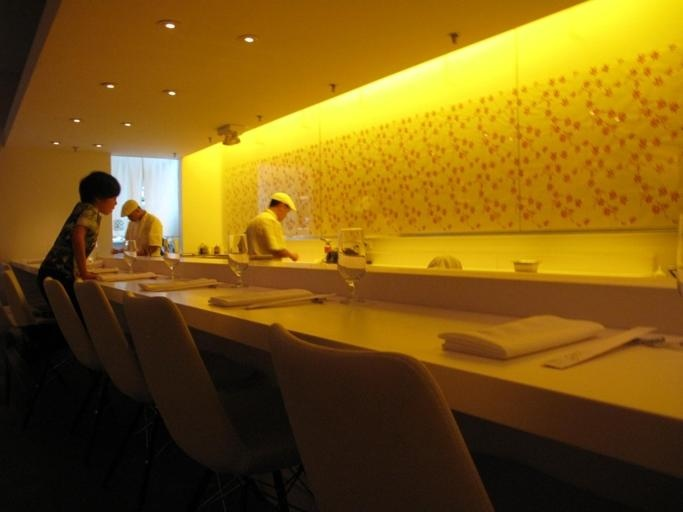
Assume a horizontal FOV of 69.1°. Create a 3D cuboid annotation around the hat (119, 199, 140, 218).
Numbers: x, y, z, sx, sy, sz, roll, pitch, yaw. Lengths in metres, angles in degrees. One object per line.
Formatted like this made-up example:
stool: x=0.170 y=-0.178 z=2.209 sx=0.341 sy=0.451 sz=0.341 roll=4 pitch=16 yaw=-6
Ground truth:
hat: x=-2.297 y=-0.532 z=5.362 sx=0.168 sy=0.161 sz=0.395 roll=-4 pitch=7 yaw=-24
